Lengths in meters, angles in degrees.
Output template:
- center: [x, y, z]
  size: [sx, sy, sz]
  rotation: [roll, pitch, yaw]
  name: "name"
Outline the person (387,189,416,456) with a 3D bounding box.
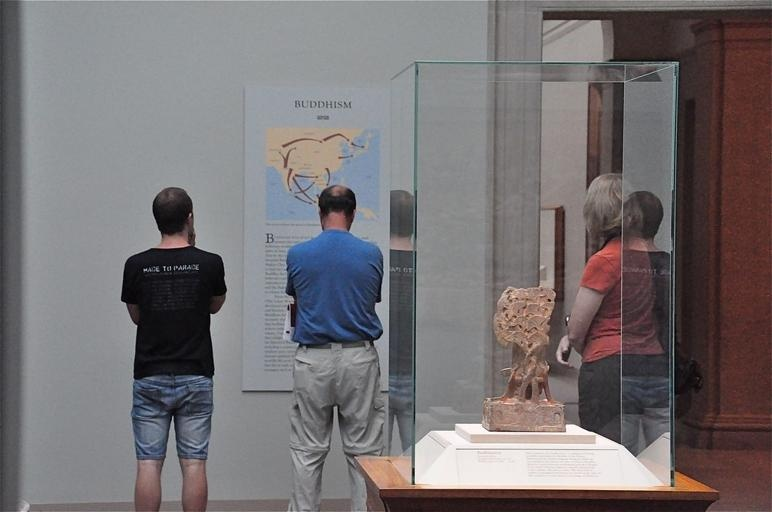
- center: [0.080, 0.393, 8.228]
  size: [0.149, 1.583, 0.508]
  rotation: [-2, 3, -13]
  name: "person"
